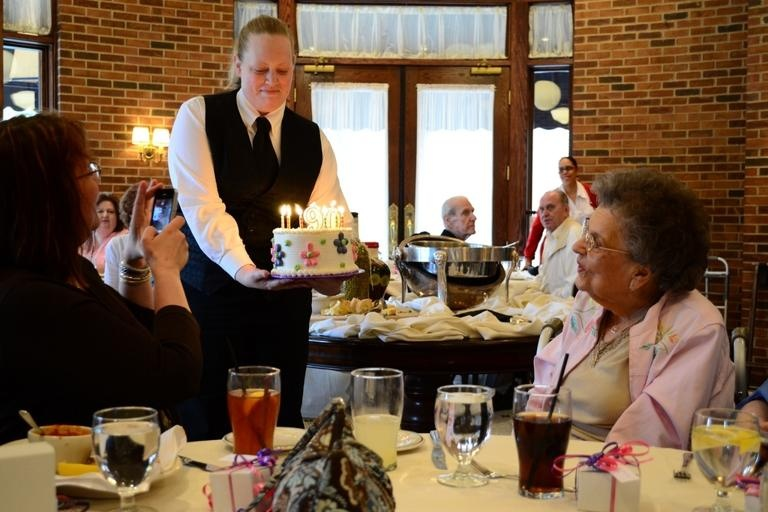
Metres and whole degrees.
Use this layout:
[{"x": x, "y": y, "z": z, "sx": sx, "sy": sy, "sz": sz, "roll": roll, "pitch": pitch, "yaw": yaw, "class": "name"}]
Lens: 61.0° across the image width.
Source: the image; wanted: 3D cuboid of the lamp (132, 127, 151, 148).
[{"x": -2.548, "y": -1.235, "z": 6.831, "sx": 0.184, "sy": 0.211, "sz": 0.188, "roll": 0, "pitch": 8, "yaw": -11, "class": "lamp"}]

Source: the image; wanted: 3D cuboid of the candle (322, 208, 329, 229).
[{"x": -0.214, "y": -0.142, "z": 2.409, "sx": 0.039, "sy": 0.066, "sz": 0.056, "roll": 0, "pitch": 7, "yaw": -6, "class": "candle"}]

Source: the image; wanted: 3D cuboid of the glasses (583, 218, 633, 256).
[{"x": 0.665, "y": -0.056, "z": 1.965, "sx": 0.101, "sy": 0.032, "sz": 0.101, "roll": 9, "pitch": 12, "yaw": -8, "class": "glasses"}]

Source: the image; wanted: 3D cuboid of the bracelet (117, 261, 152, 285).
[{"x": -0.807, "y": 0.056, "z": 2.118, "sx": 0.082, "sy": 0.055, "sz": 0.084, "roll": 6, "pitch": 3, "yaw": -35, "class": "bracelet"}]

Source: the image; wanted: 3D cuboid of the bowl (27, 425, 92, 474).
[{"x": -0.712, "y": 0.429, "z": 1.475, "sx": 0.118, "sy": 0.083, "sz": 0.119, "roll": 1, "pitch": -5, "yaw": 0, "class": "bowl"}]

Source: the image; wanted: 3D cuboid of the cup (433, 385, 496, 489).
[{"x": 0.180, "y": 0.389, "z": 1.464, "sx": 0.123, "sy": 0.206, "sz": 0.190, "roll": 1, "pitch": 7, "yaw": 9, "class": "cup"}]

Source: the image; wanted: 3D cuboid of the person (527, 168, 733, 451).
[{"x": 0.700, "y": 0.150, "z": 1.916, "sx": 0.571, "sy": 0.803, "sz": 0.400, "roll": 6, "pitch": 9, "yaw": 40, "class": "person"}]

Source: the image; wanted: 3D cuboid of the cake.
[{"x": -0.244, "y": -0.016, "z": 2.301, "sx": 0.306, "sy": 0.160, "sz": 0.199, "roll": -1, "pitch": 7, "yaw": -11, "class": "cake"}]

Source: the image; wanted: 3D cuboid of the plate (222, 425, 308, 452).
[{"x": -0.295, "y": 0.450, "z": 1.620, "sx": 0.127, "sy": 0.019, "sz": 0.130, "roll": 0, "pitch": 4, "yaw": -1, "class": "plate"}]

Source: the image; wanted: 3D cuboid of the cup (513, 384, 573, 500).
[{"x": 0.336, "y": 0.399, "z": 1.398, "sx": 0.116, "sy": 0.217, "sz": 0.077, "roll": 2, "pitch": 7, "yaw": 11, "class": "cup"}]
